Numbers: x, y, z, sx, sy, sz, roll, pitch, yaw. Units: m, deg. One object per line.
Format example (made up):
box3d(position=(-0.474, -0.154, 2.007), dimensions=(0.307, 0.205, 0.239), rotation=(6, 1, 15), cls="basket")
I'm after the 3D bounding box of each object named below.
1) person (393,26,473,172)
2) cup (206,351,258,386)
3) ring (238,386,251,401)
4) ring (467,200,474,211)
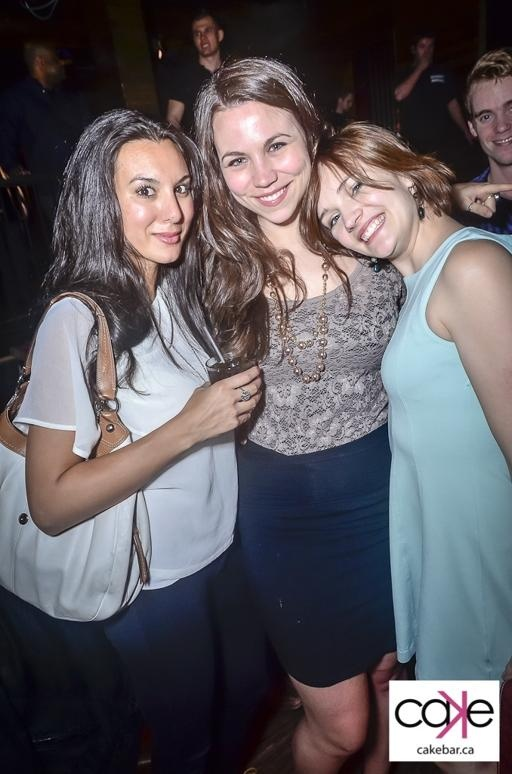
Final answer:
box3d(position=(1.581, -2.180, 5.331), dimensions=(0.589, 1.738, 0.450), rotation=(-6, -1, 19), cls="person")
box3d(position=(-0.079, -0.047, 1.561), dimensions=(0.086, 0.081, 0.076), rotation=(-3, 8, -15), cls="cup")
box3d(position=(-0.028, 0.015, 1.515), dimensions=(0.025, 0.030, 0.013), rotation=(-3, -6, -34), cls="ring")
box3d(position=(0.746, -0.622, 2.122), dimensions=(0.008, 0.022, 0.020), rotation=(5, 30, -5), cls="ring")
